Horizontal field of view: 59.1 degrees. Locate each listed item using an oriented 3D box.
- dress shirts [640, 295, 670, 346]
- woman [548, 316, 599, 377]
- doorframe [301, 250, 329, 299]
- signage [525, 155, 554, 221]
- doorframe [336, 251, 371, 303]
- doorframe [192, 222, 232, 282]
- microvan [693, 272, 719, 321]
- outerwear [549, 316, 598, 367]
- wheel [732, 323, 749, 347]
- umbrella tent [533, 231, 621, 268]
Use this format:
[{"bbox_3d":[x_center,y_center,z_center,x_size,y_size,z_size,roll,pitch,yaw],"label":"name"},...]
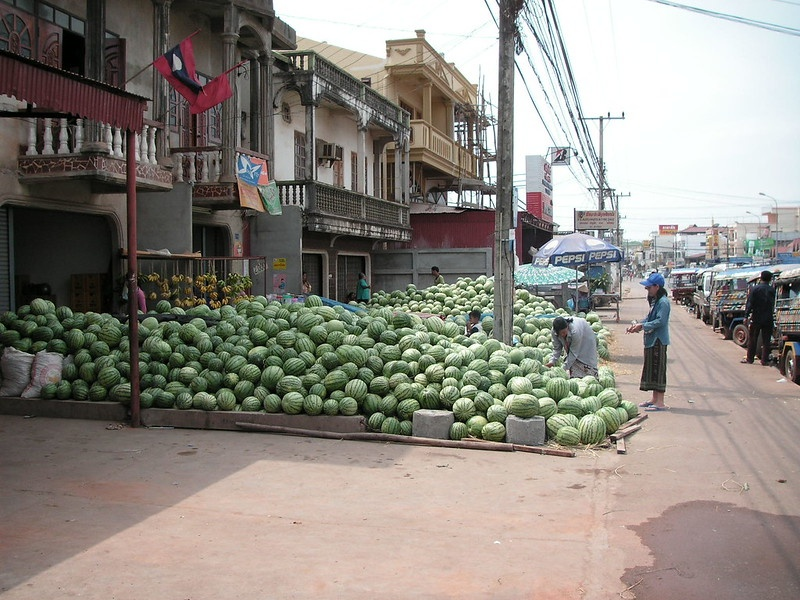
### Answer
[{"bbox_3d":[4.068,0.344,11.218,0.416,0.835,0.485,4,9,19],"label":"dress shirts"},{"bbox_3d":[2.655,0.748,10.856,0.572,0.983,0.466,-37,28,-11],"label":"woman"},{"bbox_3d":[-2.594,-0.826,21.374,0.132,1.846,1.495,0,3,25],"label":"doorframe"},{"bbox_3d":[8.890,-6.853,44.759,1.072,3.830,3.713,1,1,22],"label":"signage"},{"bbox_3d":[-1.826,-0.782,25.187,0.107,1.681,2.273,-3,4,-34],"label":"doorframe"},{"bbox_3d":[-4.551,-1.153,17.068,0.786,1.562,1.549,1,0,15],"label":"doorframe"},{"bbox_3d":[12.222,-0.120,28.122,0.884,1.087,2.002,0,10,12],"label":"microvan"},{"bbox_3d":[2.687,0.660,10.682,0.751,0.924,0.651,-2,3,1],"label":"outerwear"},{"bbox_3d":[9.398,0.979,19.413,0.240,0.760,0.673,3,-4,-11],"label":"wheel"},{"bbox_3d":[4.503,-1.232,17.711,1.935,0.745,1.940,-1,-3,-35],"label":"umbrella tent"}]
